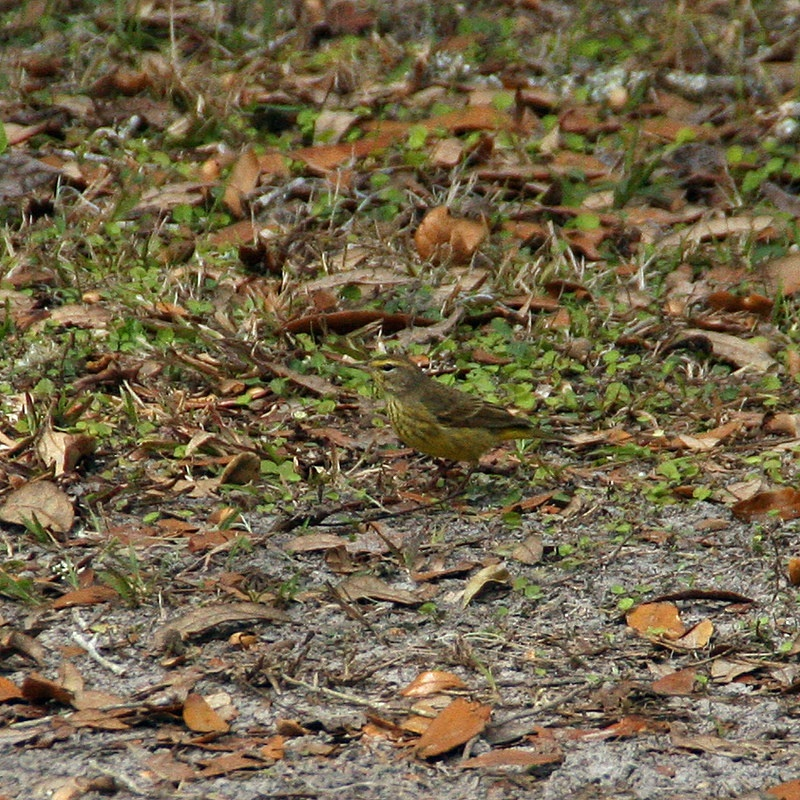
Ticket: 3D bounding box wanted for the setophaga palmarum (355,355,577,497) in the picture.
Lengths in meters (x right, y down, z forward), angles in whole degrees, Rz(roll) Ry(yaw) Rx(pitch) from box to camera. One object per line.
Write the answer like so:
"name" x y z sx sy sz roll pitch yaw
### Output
"setophaga palmarum" 0.252 0.084 5.268 1.286 0.508 0.395 2 9 -33
